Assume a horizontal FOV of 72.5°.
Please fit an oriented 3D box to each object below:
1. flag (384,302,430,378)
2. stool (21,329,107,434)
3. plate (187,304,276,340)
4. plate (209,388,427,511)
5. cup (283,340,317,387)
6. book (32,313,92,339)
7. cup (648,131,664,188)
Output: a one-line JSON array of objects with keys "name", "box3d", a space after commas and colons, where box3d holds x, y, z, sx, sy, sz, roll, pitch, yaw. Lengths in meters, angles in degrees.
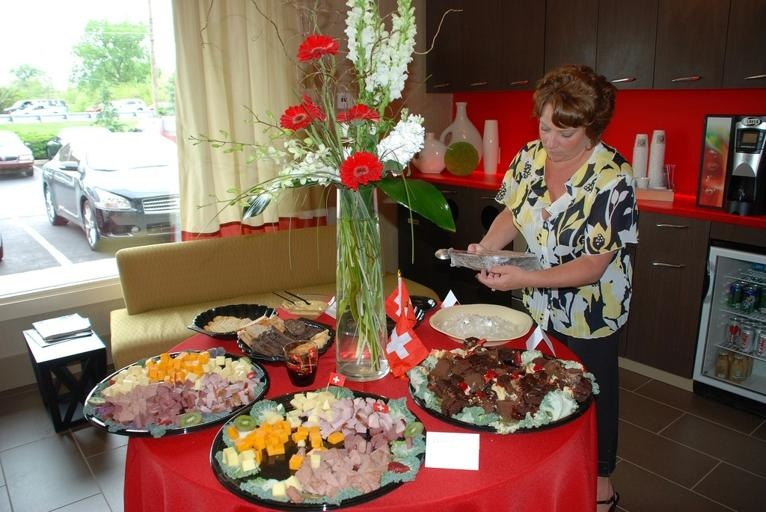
[{"name": "flag", "box3d": [0.091, 0.349, 2.118, 0.201, 0.025, 0.297, -24, 59, 7]}, {"name": "stool", "box3d": [-1.986, 0.783, 3.252, 0.317, 0.433, 0.460, -9, 32, -27]}, {"name": "plate", "box3d": [-0.753, 0.301, 2.519, 0.202, 0.044, 0.241, 19, 29, 38]}, {"name": "plate", "box3d": [-0.207, 0.619, 1.728, 0.704, 0.177, 0.422, -3, 16, -4]}, {"name": "cup", "box3d": [-0.293, 0.408, 2.016, 0.142, 0.162, 0.143, -2, 5, 0]}, {"name": "book", "box3d": [-2.187, 0.485, 3.558, 0.226, 0.053, 0.219, -2, 15, -15]}, {"name": "cup", "box3d": [1.999, -0.708, 3.808, 0.101, 0.405, 0.148, 6, 19, 26]}]
